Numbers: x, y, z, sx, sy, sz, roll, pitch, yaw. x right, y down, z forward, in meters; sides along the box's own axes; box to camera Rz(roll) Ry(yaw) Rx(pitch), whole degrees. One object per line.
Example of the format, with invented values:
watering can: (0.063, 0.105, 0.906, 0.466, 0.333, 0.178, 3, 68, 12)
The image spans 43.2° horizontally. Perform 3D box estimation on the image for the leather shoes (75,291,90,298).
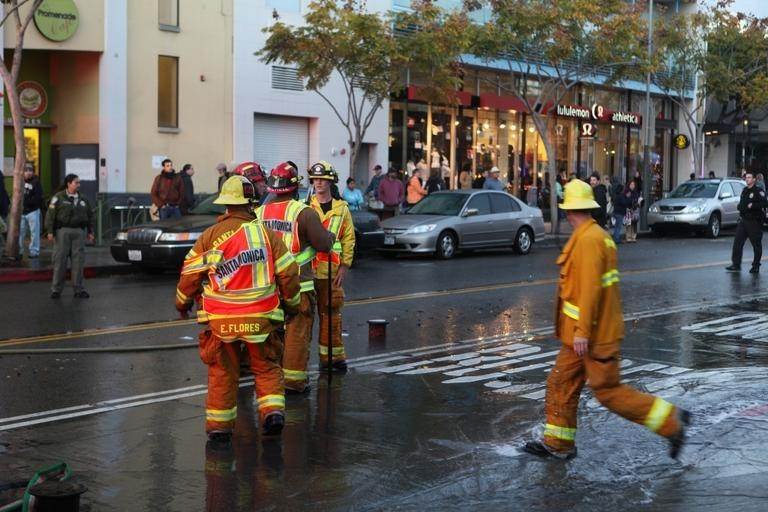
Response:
leather shoes: (-5.205, 0.665, 16.778, 0.246, 0.105, 0.107, 1, 4, 32)

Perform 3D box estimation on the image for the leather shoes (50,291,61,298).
leather shoes: (-5.659, 0.665, 16.731, 0.100, 0.093, 0.225, 1, -5, -11)

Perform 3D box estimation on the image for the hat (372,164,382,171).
hat: (-0.219, -2.490, 27.345, 0.302, 0.147, 0.219, 7, 5, 9)

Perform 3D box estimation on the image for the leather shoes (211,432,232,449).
leather shoes: (-1.669, 1.876, 9.910, 0.237, 0.123, 0.225, -1, 11, -11)

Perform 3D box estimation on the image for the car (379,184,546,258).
car: (1.852, -0.754, 23.565, 4.334, 1.628, 1.320, -7, 13, -37)

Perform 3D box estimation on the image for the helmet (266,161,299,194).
helmet: (-1.143, -0.877, 10.967, 0.287, 0.257, 0.407, 2, 9, 10)

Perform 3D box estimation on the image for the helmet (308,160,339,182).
helmet: (-0.725, -1.043, 11.751, 0.252, 0.203, 0.321, 3, -11, 12)

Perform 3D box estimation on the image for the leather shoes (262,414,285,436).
leather shoes: (-1.131, 1.731, 9.953, 0.128, 0.140, 0.310, 3, -25, -14)

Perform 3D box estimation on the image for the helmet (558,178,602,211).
helmet: (1.981, -0.614, 9.795, 0.332, 0.207, 0.349, -1, 10, 12)

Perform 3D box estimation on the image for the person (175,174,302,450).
person: (-1.485, 0.555, 10.065, 1.207, 2.607, 0.739, -1, 10, -7)

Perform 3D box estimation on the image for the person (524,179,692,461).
person: (2.158, 0.637, 9.695, 1.375, 2.731, 0.646, 2, 10, 10)

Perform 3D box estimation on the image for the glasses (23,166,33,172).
glasses: (-8.100, -1.982, 22.048, 0.126, 0.120, 0.125, 2, 3, 7)

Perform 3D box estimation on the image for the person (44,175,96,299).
person: (-5.495, -0.333, 16.968, 0.758, 2.123, 1.020, -3, 11, -19)

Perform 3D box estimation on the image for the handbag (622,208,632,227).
handbag: (7.104, -1.159, 28.242, 0.207, 0.524, 0.474, 2, 5, 18)
